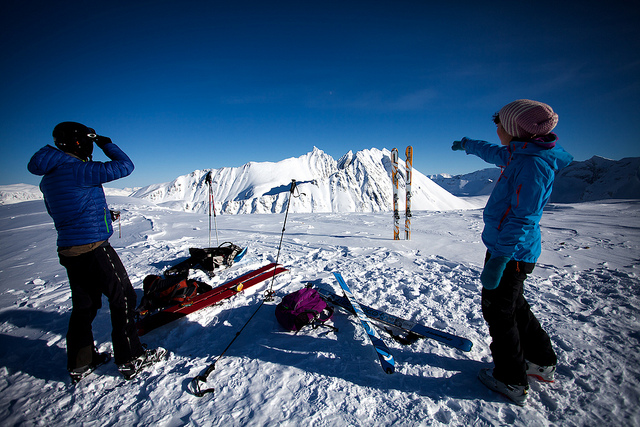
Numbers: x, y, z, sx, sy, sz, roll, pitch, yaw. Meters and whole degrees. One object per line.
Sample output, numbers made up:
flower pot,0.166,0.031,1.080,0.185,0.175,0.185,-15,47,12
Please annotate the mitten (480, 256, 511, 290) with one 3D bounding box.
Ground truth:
mitten,2.923,0.970,5.761,0.383,0.637,0.242,28,-2,19

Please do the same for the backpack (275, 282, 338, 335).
backpack,-0.338,1.978,7.049,1.054,0.385,0.807,31,43,35
